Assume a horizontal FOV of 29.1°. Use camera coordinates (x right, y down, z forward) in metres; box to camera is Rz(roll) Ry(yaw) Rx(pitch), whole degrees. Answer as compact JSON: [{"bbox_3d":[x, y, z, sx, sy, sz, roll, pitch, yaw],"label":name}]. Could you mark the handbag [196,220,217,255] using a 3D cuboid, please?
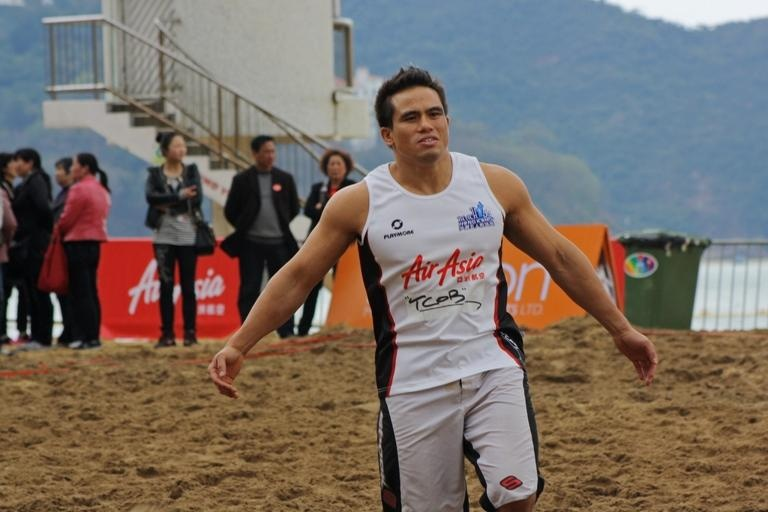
[{"bbox_3d":[-4.315,-0.452,35.701,0.368,0.822,0.822,-4,-7,4],"label":"handbag"}]
